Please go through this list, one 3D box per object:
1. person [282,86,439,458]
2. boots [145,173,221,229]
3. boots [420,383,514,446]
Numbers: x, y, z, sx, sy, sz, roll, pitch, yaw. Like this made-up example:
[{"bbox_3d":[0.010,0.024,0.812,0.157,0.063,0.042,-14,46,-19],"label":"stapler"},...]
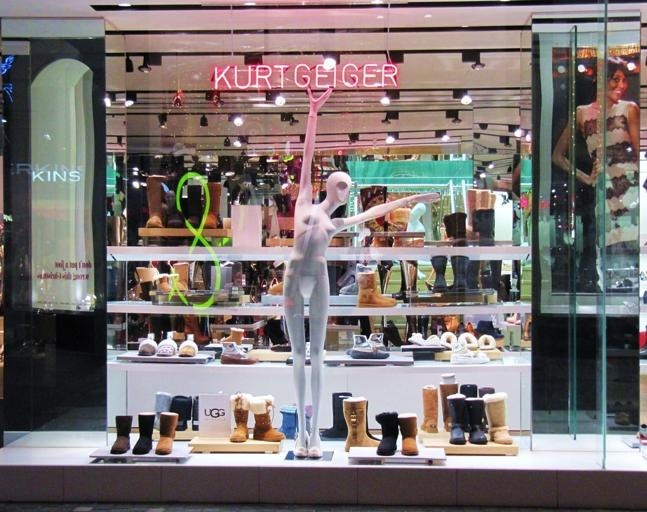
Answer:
[{"bbox_3d":[0.092,0.121,6.365,0.766,2.628,0.408,1,-4,-28],"label":"person"},{"bbox_3d":[-1.084,-0.415,6.699,0.638,0.450,0.354,0,-4,-3],"label":"boots"},{"bbox_3d":[1.131,1.182,6.346,0.335,0.304,0.416,4,-14,-22],"label":"boots"}]
